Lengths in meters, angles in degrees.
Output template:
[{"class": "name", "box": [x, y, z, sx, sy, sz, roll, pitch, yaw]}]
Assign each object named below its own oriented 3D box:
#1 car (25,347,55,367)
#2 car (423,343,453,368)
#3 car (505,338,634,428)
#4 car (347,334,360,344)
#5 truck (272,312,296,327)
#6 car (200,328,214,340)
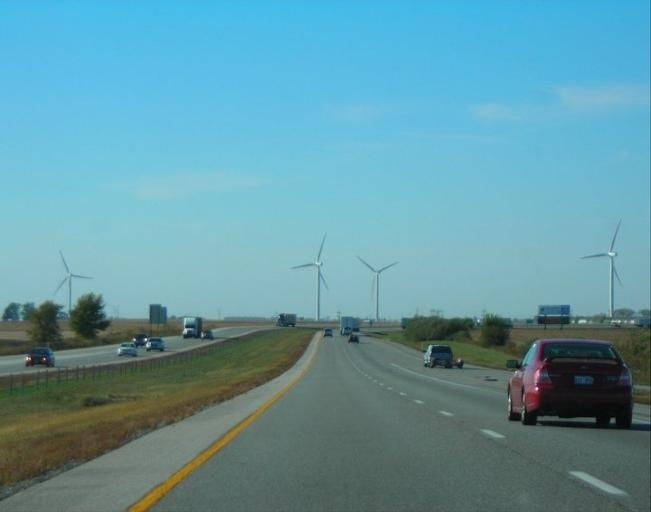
[{"class": "car", "box": [-21.616, 7.692, 70.246, 1.156, 1.201, 2.359, 0, -12, -7]}, {"class": "car", "box": [8.425, 7.521, 68.836, 1.877, 1.656, 2.790, -1, -5, 0]}, {"class": "car", "box": [5.929, 3.090, 22.309, 2.923, 2.163, 1.759, -4, -5, 29]}, {"class": "car", "box": [3.604, 10.875, 120.340, 1.090, 1.094, 2.102, 1, -1, 4]}, {"class": "truck", "box": [-7.595, 12.340, 175.130, 2.171, 2.203, 5.701, -3, -5, 22]}, {"class": "car", "box": [-16.166, 10.819, 125.664, 1.043, 1.117, 2.001, 1, 3, -5]}]
